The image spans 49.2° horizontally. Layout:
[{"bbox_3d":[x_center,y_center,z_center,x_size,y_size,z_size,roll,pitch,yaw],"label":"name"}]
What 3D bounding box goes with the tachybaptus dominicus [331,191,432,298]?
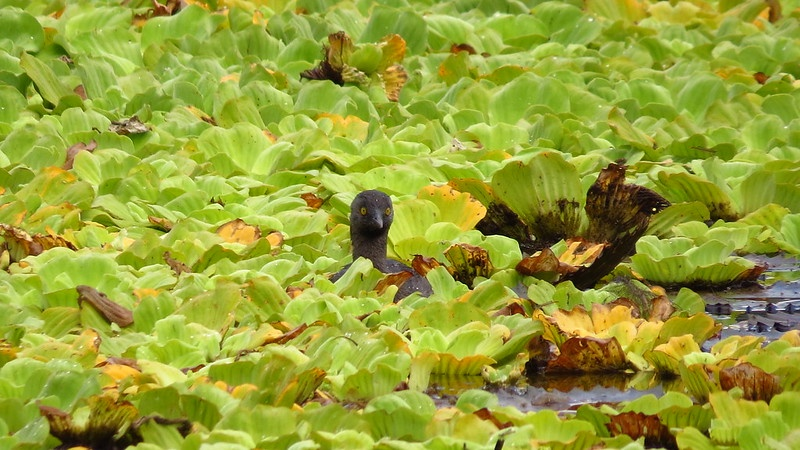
[{"bbox_3d":[-0.241,0.115,6.155,0.788,0.701,0.745,-3,-1,-12],"label":"tachybaptus dominicus"}]
